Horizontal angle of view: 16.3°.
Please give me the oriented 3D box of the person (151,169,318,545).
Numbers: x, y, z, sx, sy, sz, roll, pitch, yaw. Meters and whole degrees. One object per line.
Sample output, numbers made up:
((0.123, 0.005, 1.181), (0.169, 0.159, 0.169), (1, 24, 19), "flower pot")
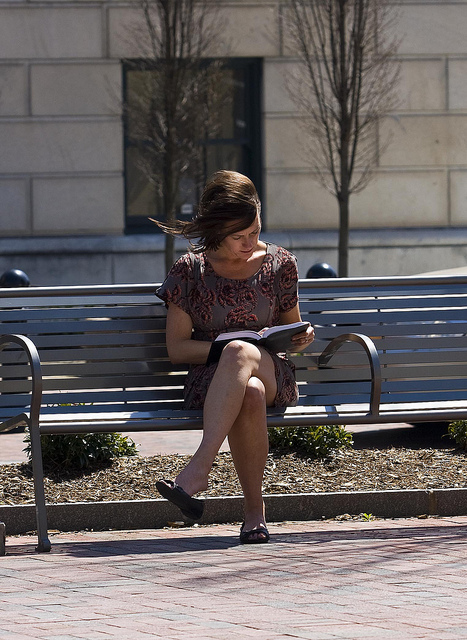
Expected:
((0.014, 0.144, 7.434), (0.702, 1.455, 0.814), (-1, 0, 0), "person")

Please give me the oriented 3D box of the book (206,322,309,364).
((0.158, 0.073, 7.486), (0.387, 0.085, 0.219), (-5, -6, 24), "book")
